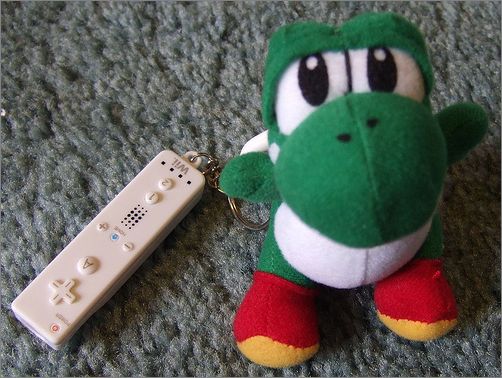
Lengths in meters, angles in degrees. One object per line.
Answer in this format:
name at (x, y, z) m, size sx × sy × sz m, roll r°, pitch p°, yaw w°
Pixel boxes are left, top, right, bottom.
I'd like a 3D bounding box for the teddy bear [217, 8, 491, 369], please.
teddy bear at (0.113, 0.005, 0.605) m, size 0.319 × 0.367 × 0.236 m, roll -12°, pitch 28°, yaw -9°
